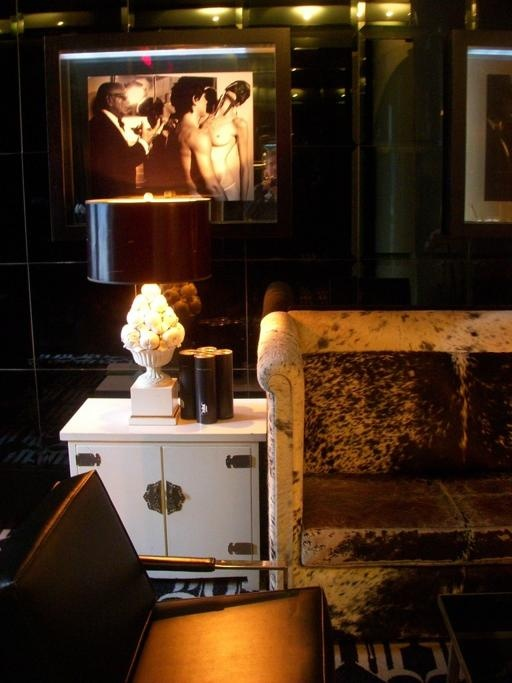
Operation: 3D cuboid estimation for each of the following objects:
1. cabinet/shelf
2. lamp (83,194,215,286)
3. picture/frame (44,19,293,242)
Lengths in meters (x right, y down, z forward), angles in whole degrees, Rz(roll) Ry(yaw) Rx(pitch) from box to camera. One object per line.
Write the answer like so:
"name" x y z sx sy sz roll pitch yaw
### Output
"cabinet/shelf" -0.326 0.589 2.455 0.759 0.713 0.438 1 19 3
"lamp" -0.370 -0.322 2.056 0.322 0.207 0.324 -1 4 -8
"picture/frame" -0.339 -0.885 2.402 0.989 0.839 0.075 0 9 1
